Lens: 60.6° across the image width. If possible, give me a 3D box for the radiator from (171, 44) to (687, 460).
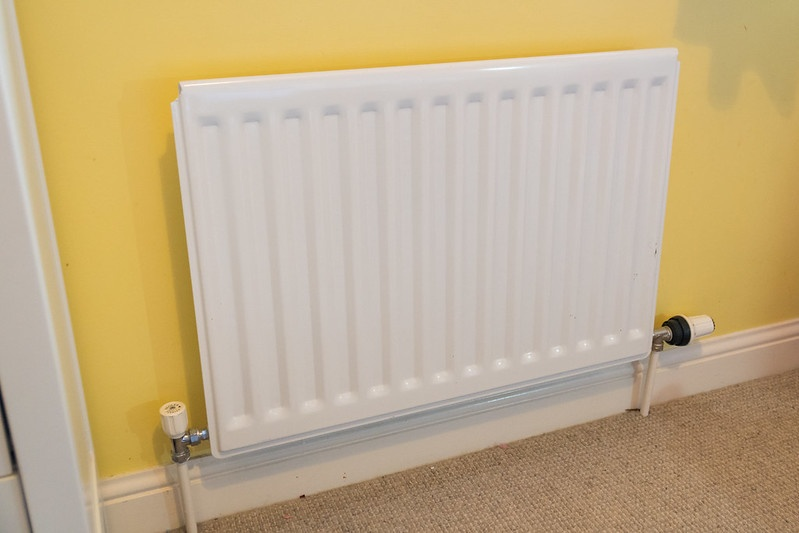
[{"bbox_3d":[0.036,-0.058,1.552,1.018,0.724,0.071,-9,22,-21],"label":"radiator"}]
